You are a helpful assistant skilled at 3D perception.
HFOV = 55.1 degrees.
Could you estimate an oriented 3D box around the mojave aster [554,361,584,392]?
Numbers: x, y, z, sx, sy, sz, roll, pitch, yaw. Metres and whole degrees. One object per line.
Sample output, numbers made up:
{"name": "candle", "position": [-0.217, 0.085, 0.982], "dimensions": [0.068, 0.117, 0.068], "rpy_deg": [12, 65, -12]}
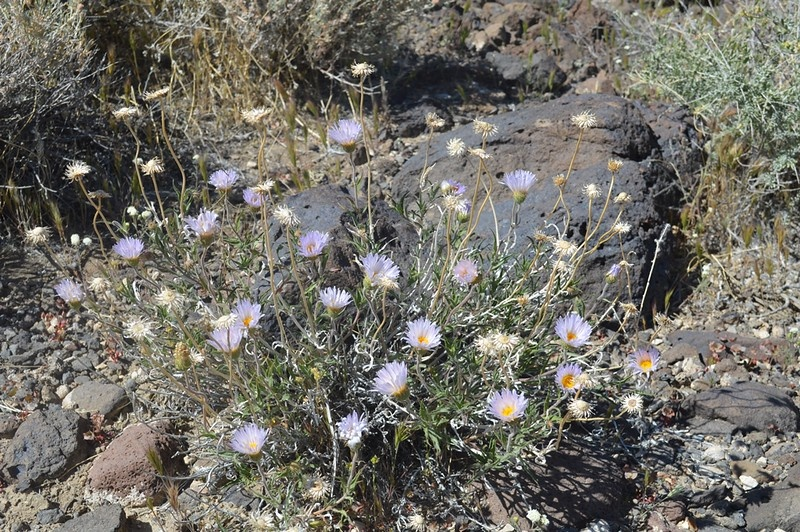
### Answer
{"name": "mojave aster", "position": [0.876, 0.566, 3.968], "dimensions": [0.116, 0.056, 0.133], "rpy_deg": [17, 61, 7]}

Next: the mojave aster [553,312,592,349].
{"name": "mojave aster", "position": [0.910, 0.325, 4.096], "dimensions": [0.187, 0.196, 0.100], "rpy_deg": [-19, 66, 11]}
